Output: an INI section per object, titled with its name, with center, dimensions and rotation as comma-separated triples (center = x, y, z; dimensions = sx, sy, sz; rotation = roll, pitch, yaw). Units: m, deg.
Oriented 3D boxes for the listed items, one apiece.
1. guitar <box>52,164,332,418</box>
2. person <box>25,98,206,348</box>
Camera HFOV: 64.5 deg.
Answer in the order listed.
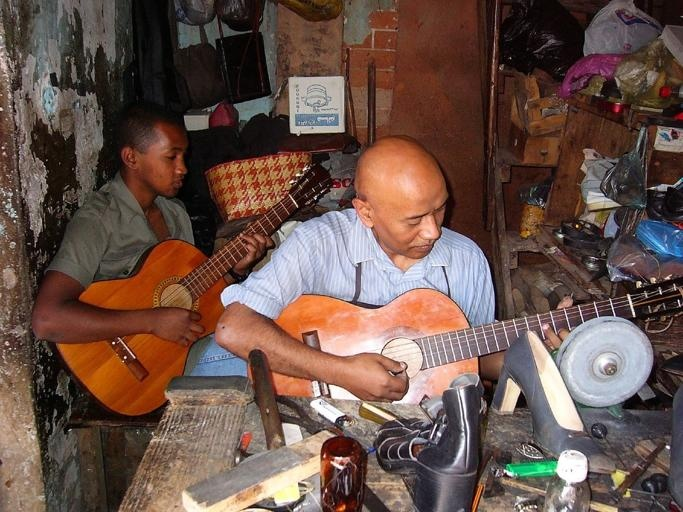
[guitar]
center = -0.928, 0.152, 3.537
dimensions = 0.204, 0.784, 1.956
rotation = -18, 23, 52
[person]
center = -1.341, -0.118, 3.264
dimensions = 0.837, 1.452, 0.851
rotation = 20, 26, 27
